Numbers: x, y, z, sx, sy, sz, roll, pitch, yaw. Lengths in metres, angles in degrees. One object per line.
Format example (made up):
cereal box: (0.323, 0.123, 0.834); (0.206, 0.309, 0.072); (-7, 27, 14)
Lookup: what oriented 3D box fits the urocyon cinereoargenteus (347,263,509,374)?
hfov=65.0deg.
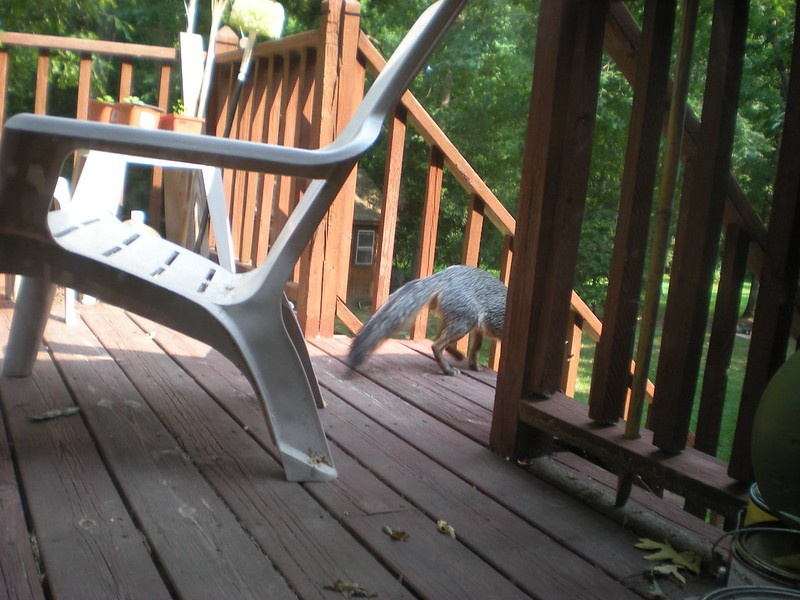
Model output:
urocyon cinereoargenteus: (0.229, 0.060, 2.679); (0.840, 0.532, 0.242); (7, 12, -17)
